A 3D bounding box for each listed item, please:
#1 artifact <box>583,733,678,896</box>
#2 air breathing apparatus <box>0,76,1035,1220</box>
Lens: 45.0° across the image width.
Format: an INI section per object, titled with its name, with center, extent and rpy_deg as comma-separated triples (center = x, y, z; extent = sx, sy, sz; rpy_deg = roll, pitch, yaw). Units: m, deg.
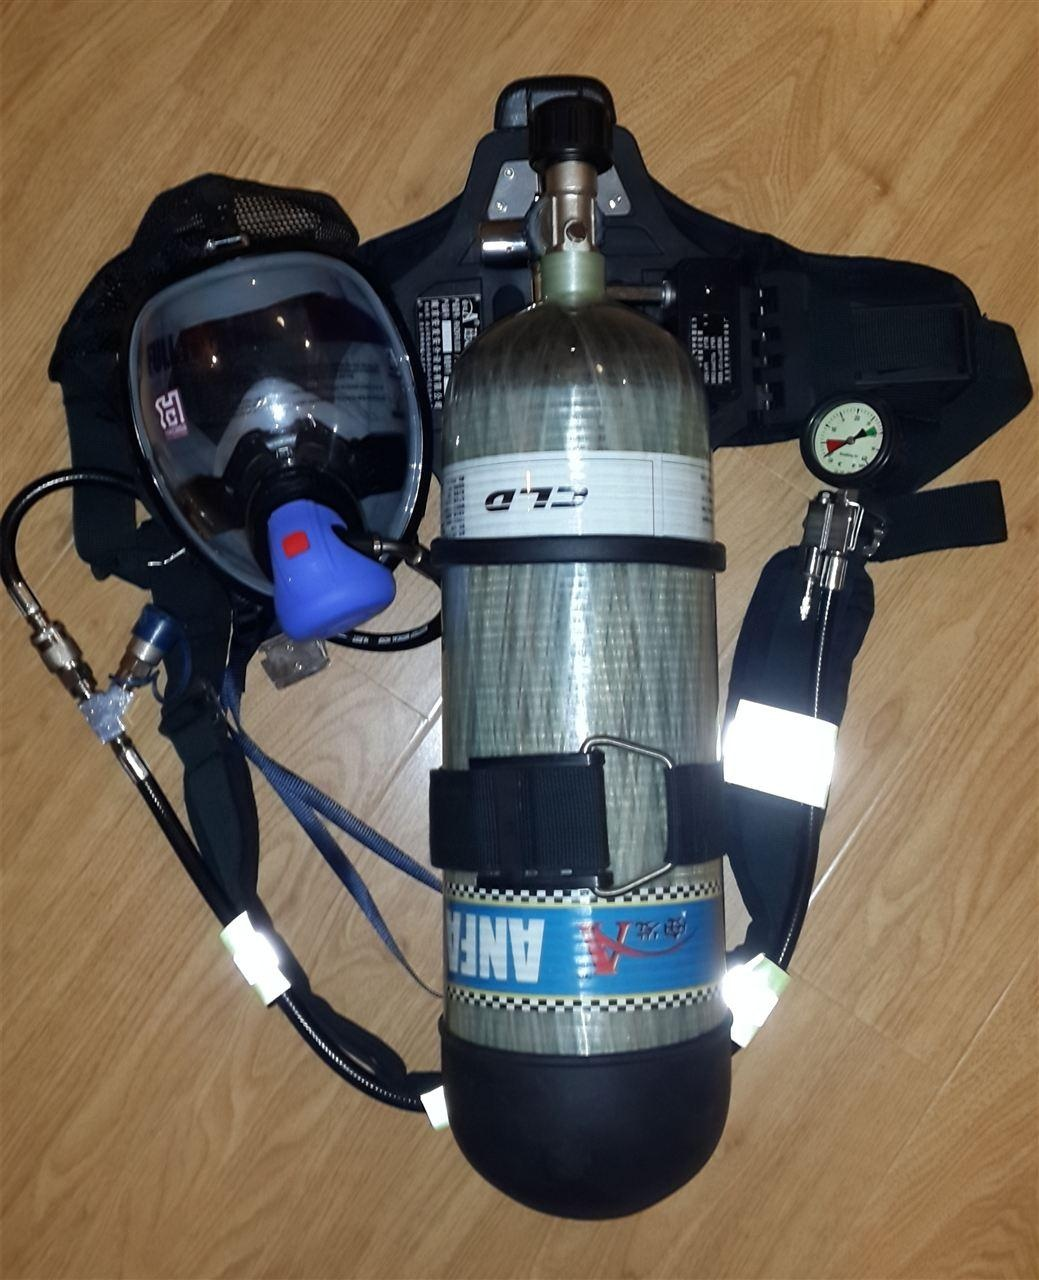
[artifact]
center = 0.109, 0.177, 1.256
extent = 0.095, 0.115, 0.109
rpy_deg = 0, 43, -1
[air breathing apparatus]
center = -0.033, -0.096, 1.493
extent = 1.154, 0.898, 0.985
rpy_deg = 20, 47, 18
